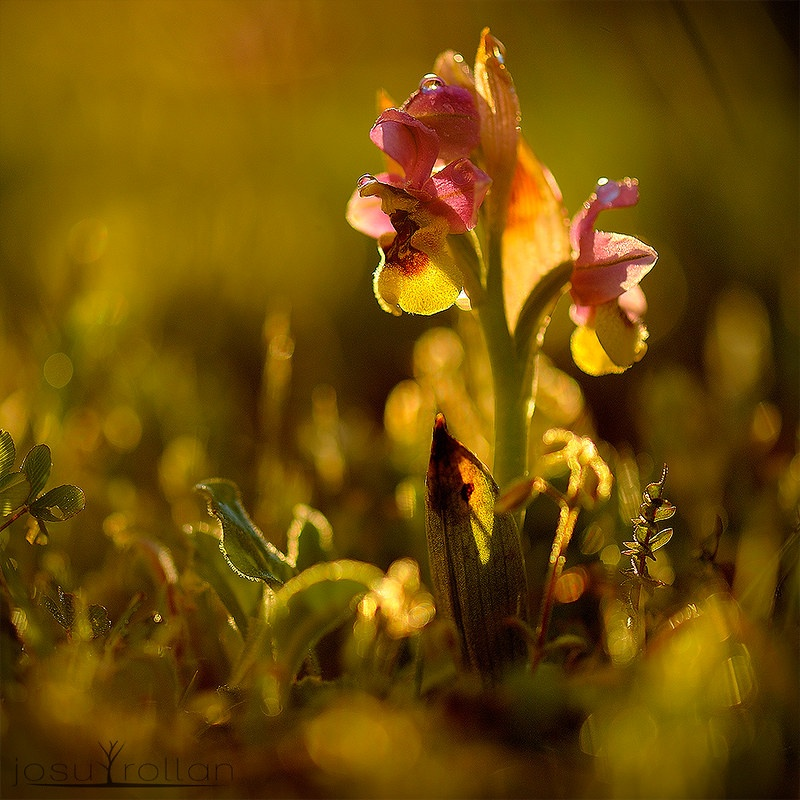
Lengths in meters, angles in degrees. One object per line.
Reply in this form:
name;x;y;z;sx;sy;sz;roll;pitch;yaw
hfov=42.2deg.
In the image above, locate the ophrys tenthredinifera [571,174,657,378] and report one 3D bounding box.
ophrys tenthredinifera;0.115;-0.067;0.574;0.044;0.108;0.075;2;9;10
